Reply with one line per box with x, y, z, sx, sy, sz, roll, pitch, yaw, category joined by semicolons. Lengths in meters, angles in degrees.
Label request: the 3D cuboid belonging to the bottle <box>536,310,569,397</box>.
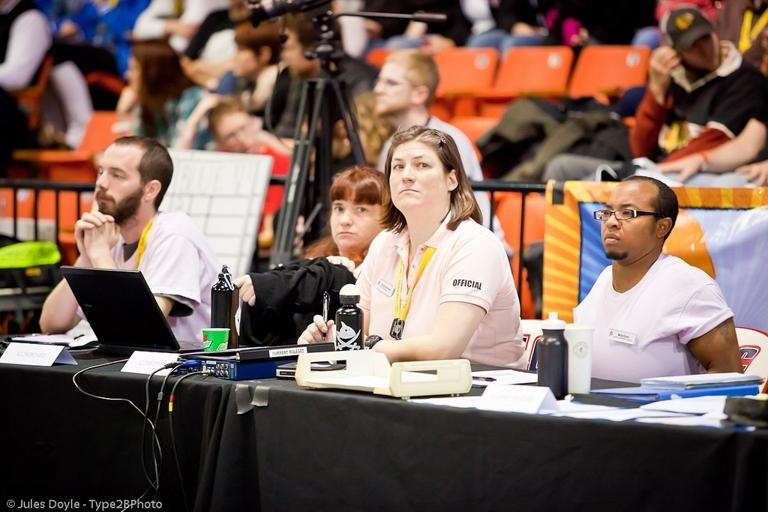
0.646;0.376;3.142;0.121;0.324;0.113;4;4;0;bottle

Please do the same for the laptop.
-1.152;0.248;3.774;0.491;0.331;0.433;-3;-1;30;laptop

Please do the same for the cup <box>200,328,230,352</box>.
-0.751;0.376;3.671;0.107;0.080;0.108;1;-11;0;cup
